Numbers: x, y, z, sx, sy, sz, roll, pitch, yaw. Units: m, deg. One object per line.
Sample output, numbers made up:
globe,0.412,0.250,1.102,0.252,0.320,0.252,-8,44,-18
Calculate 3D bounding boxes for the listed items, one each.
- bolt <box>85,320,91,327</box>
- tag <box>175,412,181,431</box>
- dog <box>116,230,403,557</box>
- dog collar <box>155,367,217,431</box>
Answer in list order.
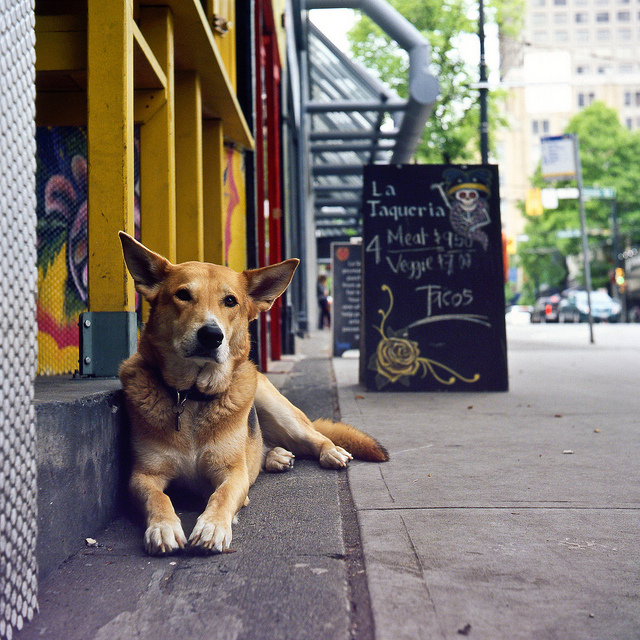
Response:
bolt,-1.157,0.016,4.414,0.005,0.036,0.035,4,9,33
tag,-0.649,0.459,4.026,0.023,0.082,0.016,-1,7,-13
dog,-0.448,0.427,4.556,0.880,1.258,1.728,-1,-8,3
dog collar,-0.636,0.358,4.051,0.172,0.281,0.132,26,-42,-12
